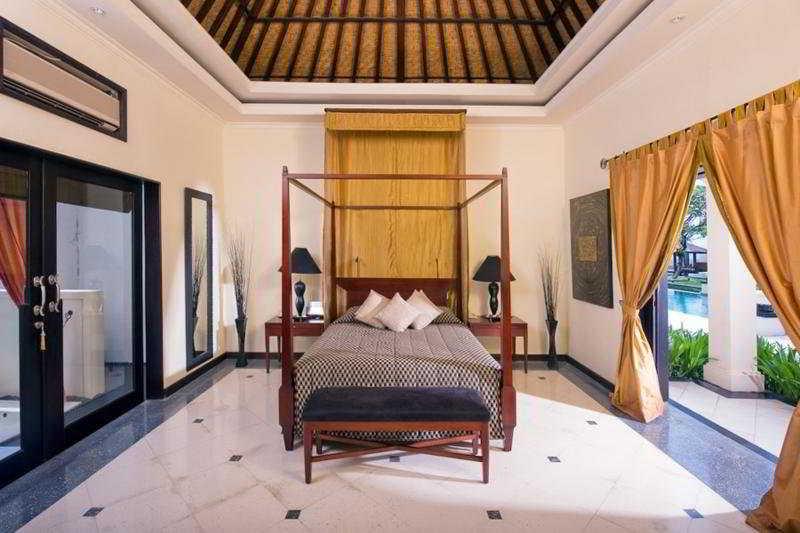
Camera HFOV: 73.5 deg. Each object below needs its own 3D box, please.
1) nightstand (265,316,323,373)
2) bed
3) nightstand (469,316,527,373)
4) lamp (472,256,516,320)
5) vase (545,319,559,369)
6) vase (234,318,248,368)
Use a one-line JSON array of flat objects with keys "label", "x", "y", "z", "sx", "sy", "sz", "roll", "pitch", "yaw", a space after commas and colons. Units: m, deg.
[{"label": "nightstand", "x": -1.397, "y": 1.032, "z": 7.355, "sx": 0.782, "sy": 0.739, "sz": 0.598, "roll": 1, "pitch": 6, "yaw": 1}, {"label": "bed", "x": -0.007, "y": 0.906, "z": 6.765, "sx": 2.281, "sy": 1.623, "sz": 3.234, "roll": 1, "pitch": 1, "yaw": -1}, {"label": "nightstand", "x": 1.298, "y": 0.872, "z": 7.220, "sx": 0.866, "sy": 0.883, "sz": 0.732, "roll": 0, "pitch": 0, "yaw": 2}, {"label": "lamp", "x": 1.298, "y": 0.271, "z": 7.291, "sx": 0.548, "sy": 0.887, "sz": 0.579, "roll": 0, "pitch": 5, "yaw": 27}, {"label": "vase", "x": 2.104, "y": 1.027, "z": 7.369, "sx": 0.156, "sy": 0.685, "sz": 0.242, "roll": 1, "pitch": 1, "yaw": 20}, {"label": "vase", "x": -2.200, "y": 1.001, "z": 7.431, "sx": 0.160, "sy": 0.687, "sz": 0.390, "roll": 1, "pitch": 1, "yaw": -16}]
